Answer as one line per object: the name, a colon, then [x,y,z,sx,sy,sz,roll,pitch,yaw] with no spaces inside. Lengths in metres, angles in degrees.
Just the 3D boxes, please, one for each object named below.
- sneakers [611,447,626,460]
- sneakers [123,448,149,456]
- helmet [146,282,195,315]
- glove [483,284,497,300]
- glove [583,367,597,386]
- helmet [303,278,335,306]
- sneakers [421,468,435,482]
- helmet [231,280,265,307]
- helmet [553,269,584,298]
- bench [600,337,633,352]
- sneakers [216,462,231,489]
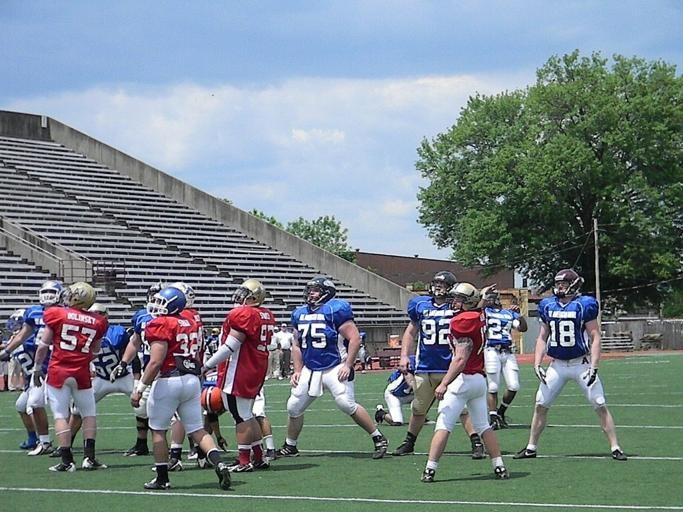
sneakers: [3.970,2.793,14.088,0.203,0.181,0.231,-1,-5,15]
sneakers: [-3.153,2.979,15.055,0.359,0.158,0.136,5,-5,3]
helmet: [-2.259,0.592,12.989,0.542,0.324,0.393,1,23,-2]
glove: [2.574,0.641,17.184,0.218,0.183,0.347,10,14,38]
glove: [3.536,1.696,13.986,0.151,0.251,0.099,18,15,-1]
helmet: [-0.331,0.528,14.665,0.352,0.413,0.438,0,-7,45]
sneakers: [1.118,2.837,12.894,0.164,0.189,0.225,0,-5,2]
helmet: [-1.342,0.524,14.039,0.409,0.352,0.316,5,4,-1]
helmet: [3.308,0.439,14.470,0.433,0.400,0.340,24,-18,-11]
bench: [14.711,4.689,52.781,2.060,0.744,0.458,3,-10,-27]
sneakers: [-1.521,2.768,12.552,0.137,0.387,0.170,-16,-4,-9]
